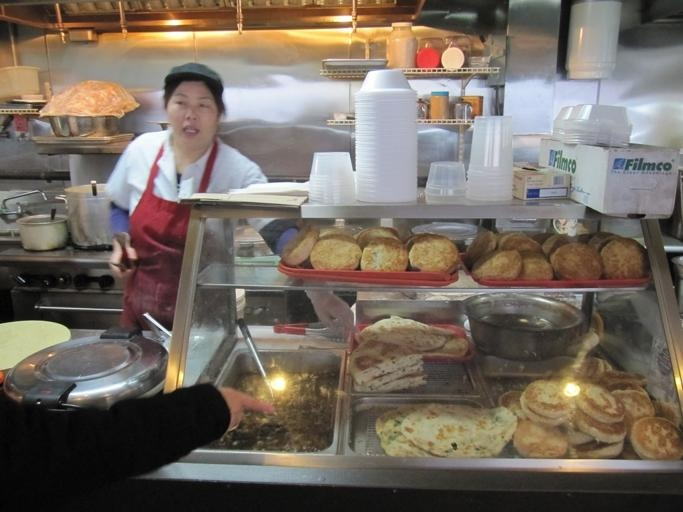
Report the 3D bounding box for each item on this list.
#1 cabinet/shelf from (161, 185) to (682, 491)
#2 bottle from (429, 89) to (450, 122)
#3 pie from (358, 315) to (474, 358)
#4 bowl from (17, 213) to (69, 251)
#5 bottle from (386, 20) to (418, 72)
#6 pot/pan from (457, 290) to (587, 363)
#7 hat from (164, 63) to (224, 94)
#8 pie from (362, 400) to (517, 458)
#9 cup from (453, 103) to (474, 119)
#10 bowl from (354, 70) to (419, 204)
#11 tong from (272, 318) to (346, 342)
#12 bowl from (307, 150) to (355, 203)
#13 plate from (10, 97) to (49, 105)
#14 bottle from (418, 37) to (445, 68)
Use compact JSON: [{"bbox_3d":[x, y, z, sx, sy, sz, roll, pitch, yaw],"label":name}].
[{"bbox_3d":[0.283,0.093,1.682,1.813,0.709,0.792,0,11,2],"label":"cabinet/shelf"},{"bbox_3d":[0.692,-1.065,3.798,0.132,0.196,0.235,0,17,9],"label":"bottle"},{"bbox_3d":[0.239,0.247,1.663,0.250,0.039,0.134,0,21,4],"label":"pie"},{"bbox_3d":[-1.892,-0.140,3.437,0.266,0.131,0.247,0,10,0],"label":"bowl"},{"bbox_3d":[0.421,-1.449,3.727,0.257,0.315,0.229,7,21,29],"label":"bottle"},{"bbox_3d":[0.539,0.181,1.588,0.261,0.081,0.245,-11,13,-38],"label":"pot/pan"},{"bbox_3d":[-0.733,-0.861,2.647,0.285,0.171,0.173,-6,17,-12],"label":"hat"},{"bbox_3d":[0.288,0.475,1.479,0.384,0.087,0.140,-2,16,2],"label":"pie"},{"bbox_3d":[0.840,-0.997,3.714,0.106,0.122,0.151,-1,17,8],"label":"cup"},{"bbox_3d":[0.121,-0.329,1.504,0.176,0.363,0.075,-3,20,1],"label":"bowl"},{"bbox_3d":[-0.097,0.234,1.705,0.224,0.050,0.074,5,-1,2],"label":"tong"},{"bbox_3d":[-0.023,-0.227,1.548,0.164,0.127,0.156,0,14,0],"label":"bowl"},{"bbox_3d":[-2.365,-1.178,4.093,0.238,0.057,0.121,-7,16,-17],"label":"plate"},{"bbox_3d":[0.608,-1.390,3.691,0.195,0.225,0.322,1,17,11],"label":"bottle"}]
